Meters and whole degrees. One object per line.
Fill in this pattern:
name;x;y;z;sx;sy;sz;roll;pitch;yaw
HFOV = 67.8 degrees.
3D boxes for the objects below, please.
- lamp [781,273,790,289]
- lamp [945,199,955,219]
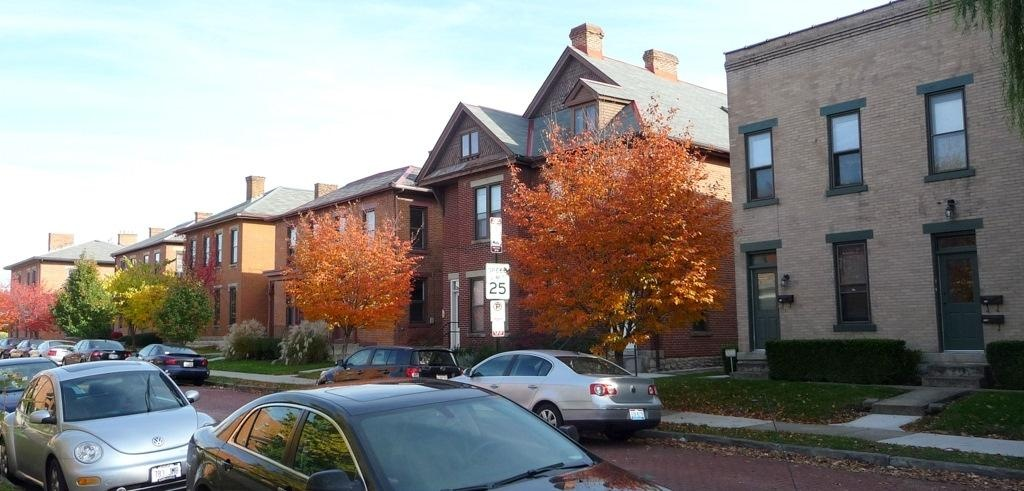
lamp;11.778;1.463;32.901;0.404;0.597;0.272;-5;-10;16
lamp;17.404;-1.473;30.328;0.428;0.804;0.190;-7;-11;26
